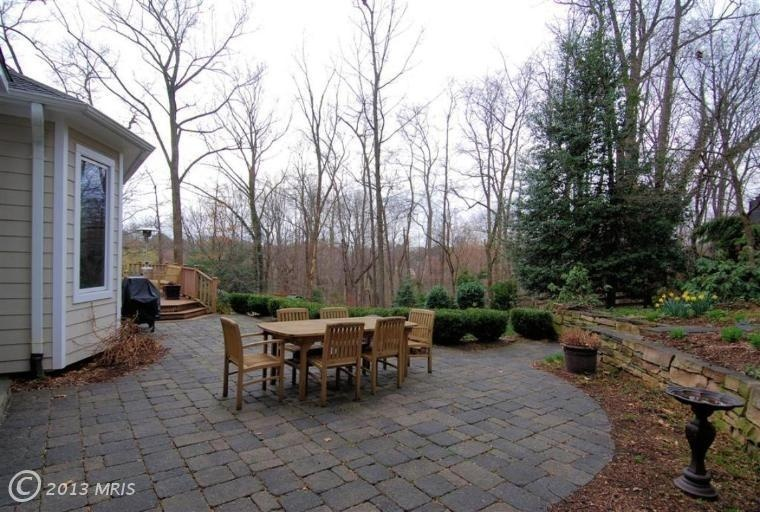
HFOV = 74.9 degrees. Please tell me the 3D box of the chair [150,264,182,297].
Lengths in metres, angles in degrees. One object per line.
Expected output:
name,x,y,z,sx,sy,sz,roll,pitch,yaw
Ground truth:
chair,-7.165,0.826,16.548,1.125,1.468,1.172,0,-2,-35
